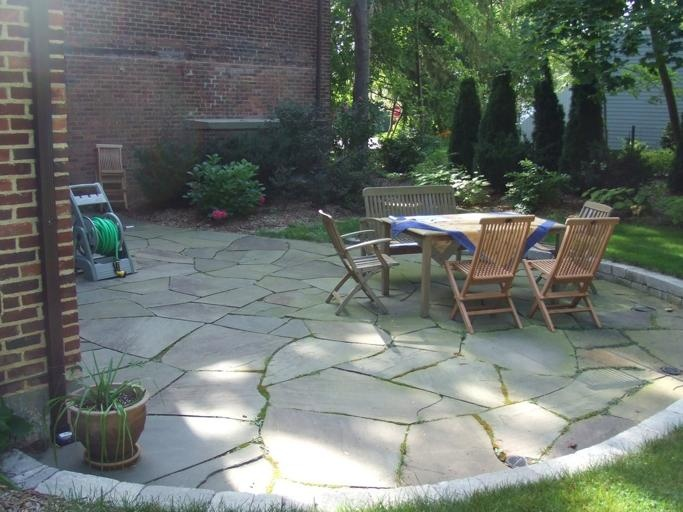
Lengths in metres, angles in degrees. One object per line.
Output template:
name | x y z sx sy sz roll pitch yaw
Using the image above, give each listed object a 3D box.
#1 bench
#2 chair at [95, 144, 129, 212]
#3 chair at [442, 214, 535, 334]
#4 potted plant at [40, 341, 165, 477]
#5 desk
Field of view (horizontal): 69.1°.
bench | 1.238 -0.471 8.268 1.853 1.143 0.687 -5 24 -8
chair | -5.946 -2.043 12.955 0.800 1.719 0.477 -12 22 -29
chair | 1.790 0.135 6.190 0.929 1.437 1.285 -2 18 -2
potted plant | -1.713 1.125 3.481 0.642 0.593 0.682 -1 -2 16
desk | 1.546 -0.263 6.619 2.301 1.069 1.620 -3 9 -19
